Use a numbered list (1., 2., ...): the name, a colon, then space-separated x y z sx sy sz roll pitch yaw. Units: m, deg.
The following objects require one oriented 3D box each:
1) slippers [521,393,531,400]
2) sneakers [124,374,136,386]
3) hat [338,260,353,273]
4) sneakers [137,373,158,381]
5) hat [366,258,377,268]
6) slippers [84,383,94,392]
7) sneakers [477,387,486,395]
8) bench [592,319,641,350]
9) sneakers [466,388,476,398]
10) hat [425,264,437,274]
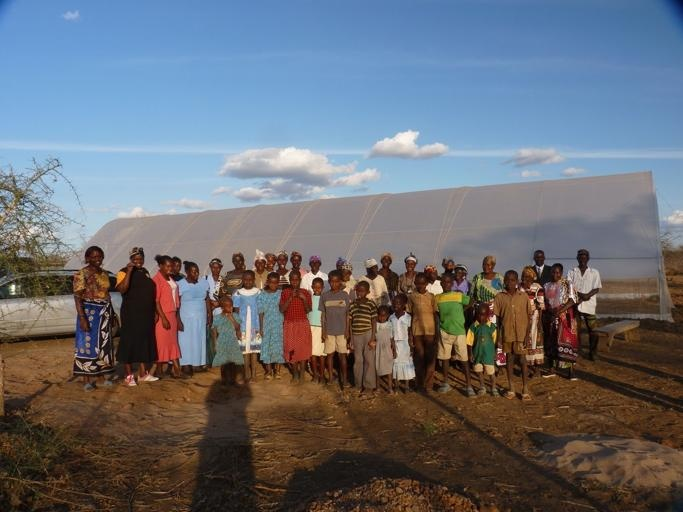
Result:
1. slippers: 2.808 2.144 8.829 0.073 0.050 0.130 1 3 7
2. sneakers: -3.371 1.996 9.296 0.103 0.126 0.288 2 -9 -38
3. hat: 0.068 0.186 10.497 0.204 0.131 0.255 13 0 10
4. sneakers: -3.210 2.007 9.630 0.321 0.124 0.119 0 -2 7
5. hat: 0.536 0.119 10.515 0.174 0.131 0.180 -14 -9 8
6. slippers: -3.943 2.032 9.088 0.166 0.092 0.212 -3 7 -24
7. sneakers: 2.187 2.112 9.052 0.141 0.133 0.073 32 -36 -33
8. bench: 5.833 1.823 12.487 0.925 0.214 0.939 -10 4 37
9. sneakers: 2.006 2.117 9.005 0.095 0.070 0.144 11 5 -8
10. hat: 1.588 0.229 10.228 0.146 0.192 0.181 17 -2 -44
